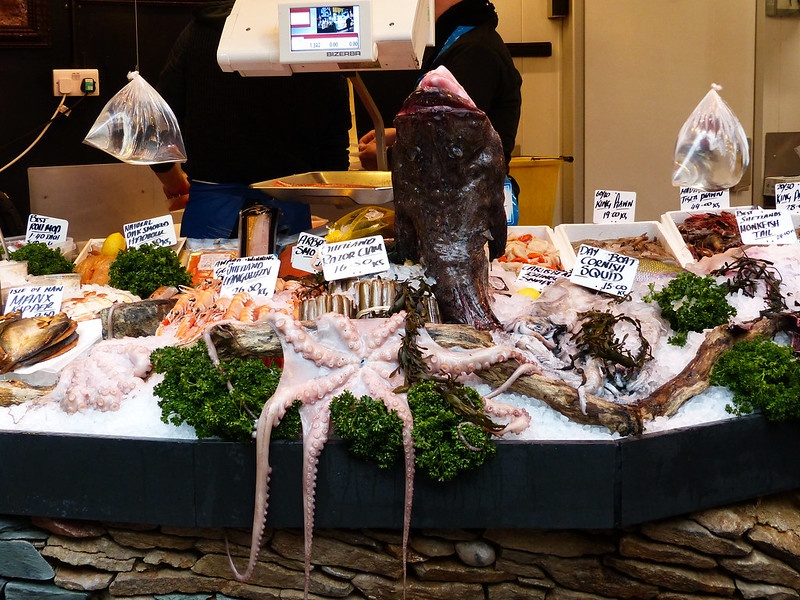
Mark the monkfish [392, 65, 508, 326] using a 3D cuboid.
[{"bbox_3d":[0.198,-0.321,2.703,0.388,1.073,0.284,-1,10,18],"label":"monkfish"}]

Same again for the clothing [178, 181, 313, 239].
[{"bbox_3d":[-0.960,-0.505,3.754,0.480,0.176,0.291,-11,10,28],"label":"clothing"}]

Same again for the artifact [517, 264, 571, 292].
[{"bbox_3d":[0.658,-0.115,3.268,0.150,0.044,0.156,2,25,5],"label":"artifact"}]

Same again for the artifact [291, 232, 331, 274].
[{"bbox_3d":[-0.425,-0.234,3.232,0.181,0.192,0.051,16,-5,13],"label":"artifact"}]
